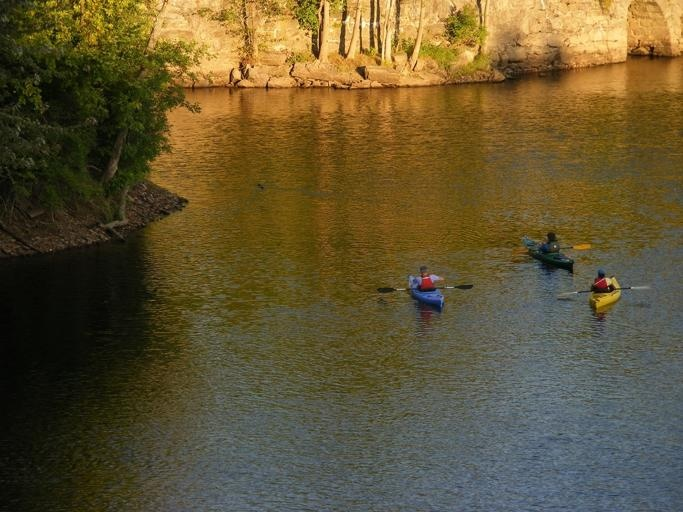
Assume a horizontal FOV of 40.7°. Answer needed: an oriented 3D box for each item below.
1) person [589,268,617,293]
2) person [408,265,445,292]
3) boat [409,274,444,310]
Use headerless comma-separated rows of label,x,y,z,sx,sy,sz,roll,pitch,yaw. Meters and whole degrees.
person,10.040,1.027,35.599,0.941,0.915,0.368,4,-26,5
person,3.163,0.881,36.236,1.097,0.491,1.311,-1,10,-3
boat,3.244,1.387,36.162,1.048,0.417,2.646,-11,23,-18
